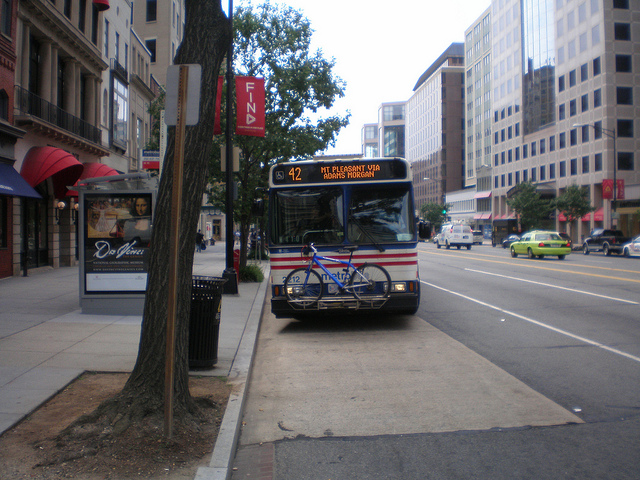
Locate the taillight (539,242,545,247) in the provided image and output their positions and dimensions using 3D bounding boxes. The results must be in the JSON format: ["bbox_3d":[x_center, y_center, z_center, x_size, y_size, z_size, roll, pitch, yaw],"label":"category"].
[{"bbox_3d":[12.019,0.235,35.263,0.056,0.236,0.324,-2,1,-32],"label":"taillight"}]

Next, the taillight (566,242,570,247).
[{"bbox_3d":[13.215,0.239,34.725,0.159,0.203,0.167,-6,3,-28],"label":"taillight"}]

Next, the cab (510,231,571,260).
[{"bbox_3d":[12.146,0.254,36.005,1.181,1.519,3.539,-2,1,-25],"label":"cab"}]
